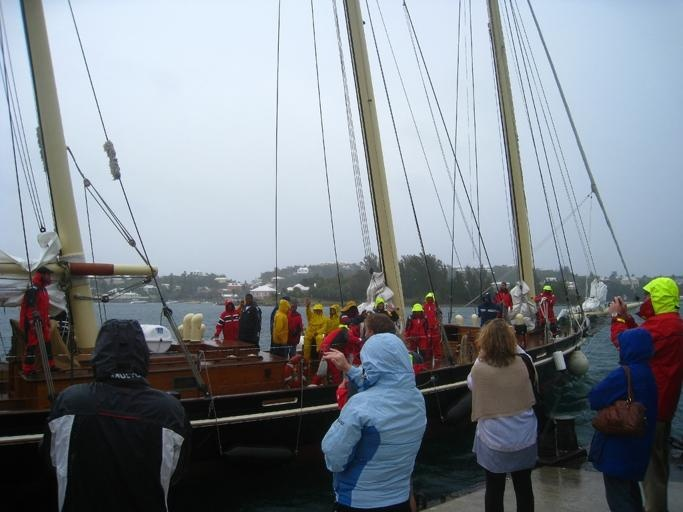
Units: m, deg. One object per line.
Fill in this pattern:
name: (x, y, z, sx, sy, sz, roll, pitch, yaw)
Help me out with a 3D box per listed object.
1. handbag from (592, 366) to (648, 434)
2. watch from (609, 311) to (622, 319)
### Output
handbag: (2.468, 1.252, 3.998, 0.239, 0.642, 0.412, 21, -23, -26)
watch: (2.854, 0.606, 4.724, 0.079, 0.099, 0.038, -1, -25, 21)
